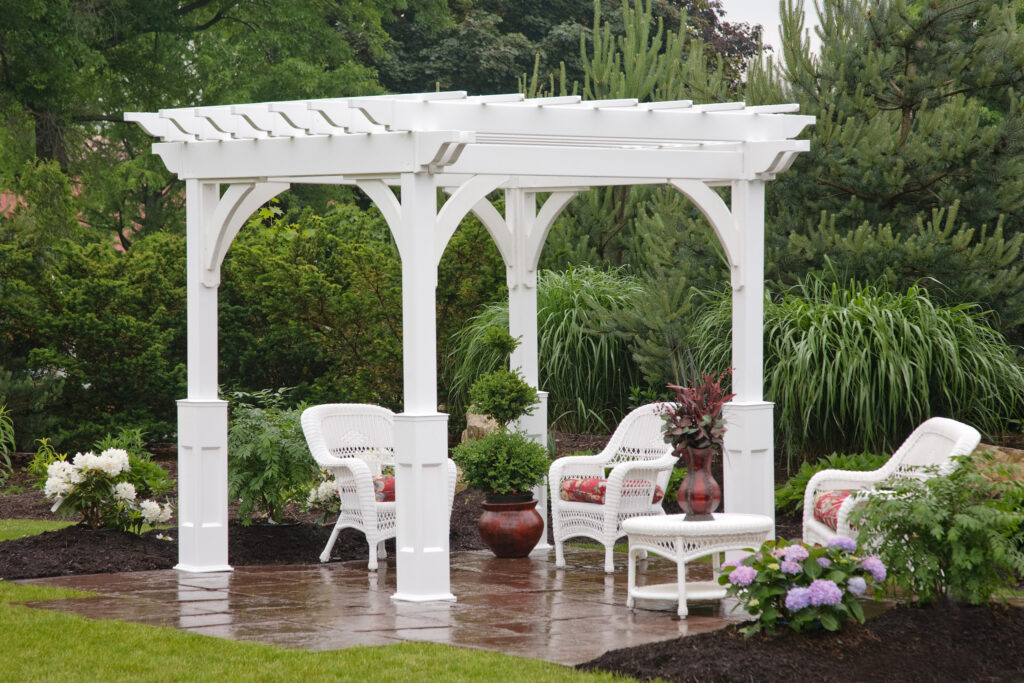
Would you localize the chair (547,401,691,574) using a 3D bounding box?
[{"bbox_3d":[0.902,1.451,13.879,1.403,2.170,1.382,4,-5,-42],"label":"chair"}]

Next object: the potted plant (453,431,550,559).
[{"bbox_3d":[-0.013,1.519,13.825,1.069,1.422,1.070,0,-5,-8],"label":"potted plant"}]

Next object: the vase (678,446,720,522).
[{"bbox_3d":[1.601,1.258,11.767,0.463,0.845,0.494,-1,-9,5],"label":"vase"}]

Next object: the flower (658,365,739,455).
[{"bbox_3d":[1.572,0.595,11.974,0.708,0.944,0.631,0,1,24],"label":"flower"}]

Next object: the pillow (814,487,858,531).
[{"bbox_3d":[2.761,1.460,11.748,0.261,0.319,0.734,0,-4,5],"label":"pillow"}]

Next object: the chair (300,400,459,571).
[{"bbox_3d":[-1.288,1.517,14.092,1.456,2.099,1.451,4,-6,-42],"label":"chair"}]

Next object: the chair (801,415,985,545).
[{"bbox_3d":[3.252,1.149,11.687,1.354,1.581,1.091,7,-6,-13],"label":"chair"}]
